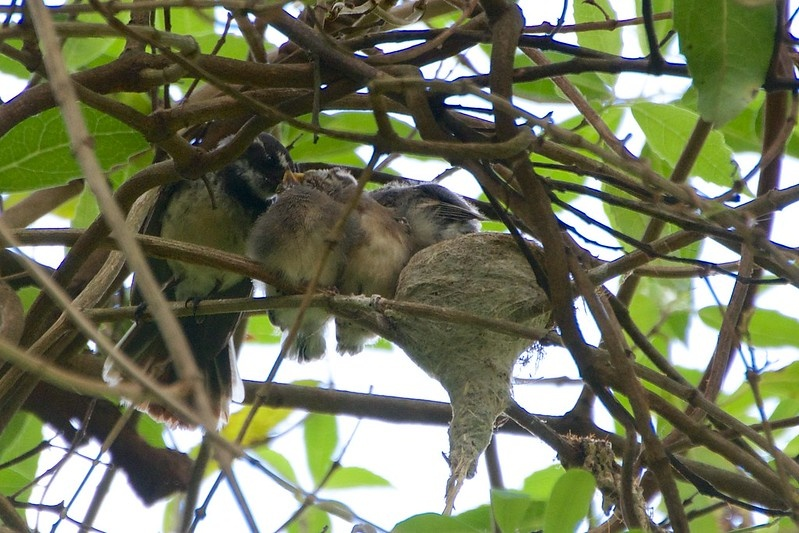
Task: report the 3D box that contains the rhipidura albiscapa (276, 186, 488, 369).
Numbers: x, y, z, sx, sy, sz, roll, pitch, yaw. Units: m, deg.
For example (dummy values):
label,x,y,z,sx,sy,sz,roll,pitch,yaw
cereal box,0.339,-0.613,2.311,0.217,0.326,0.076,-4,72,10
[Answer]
label,x,y,z,sx,sy,sz,roll,pitch,yaw
rhipidura albiscapa,-0.145,-0.087,3.665,0.679,0.720,0.325,-18,-58,45

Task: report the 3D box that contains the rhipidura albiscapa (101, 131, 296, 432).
label,x,y,z,sx,sy,sz,roll,pitch,yaw
rhipidura albiscapa,-0.826,0.027,4.017,0.560,0.760,1.230,19,-62,-32

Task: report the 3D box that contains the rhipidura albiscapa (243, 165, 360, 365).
label,x,y,z,sx,sy,sz,roll,pitch,yaw
rhipidura albiscapa,-0.274,-0.061,3.646,0.390,0.600,0.687,-10,-14,9

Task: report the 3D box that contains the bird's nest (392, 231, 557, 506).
label,x,y,z,sx,sy,sz,roll,pitch,yaw
bird's nest,0.244,0.285,3.308,0.515,0.792,0.202,12,-24,18
